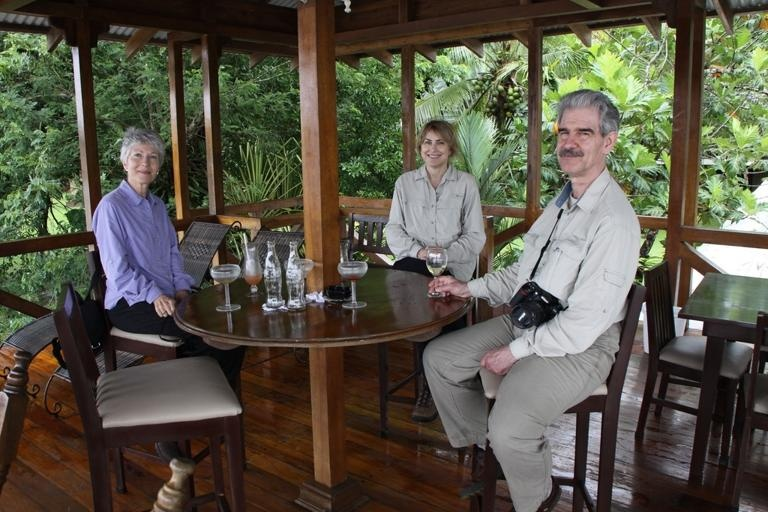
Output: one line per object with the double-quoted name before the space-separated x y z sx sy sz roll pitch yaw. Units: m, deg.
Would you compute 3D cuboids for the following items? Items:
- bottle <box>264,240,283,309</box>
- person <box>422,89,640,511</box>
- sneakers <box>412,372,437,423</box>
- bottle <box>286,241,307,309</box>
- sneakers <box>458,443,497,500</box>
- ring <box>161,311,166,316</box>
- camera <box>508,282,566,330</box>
"bottle" -0.622 0.100 3.077 0.110 0.344 0.354 -2 9 -11
"person" 0.811 0.201 2.999 0.968 2.169 0.796 -4 9 -23
"sneakers" 0.235 0.988 3.916 0.162 0.274 0.447 -4 5 -2
"bottle" -0.488 0.106 3.040 0.098 0.341 0.272 -2 9 -9
"sneakers" 0.528 1.194 2.998 0.094 0.287 0.239 31 -37 -30
"ring" -1.371 0.359 3.425 0.022 0.016 0.021 -1 28 0
"camera" 0.808 0.277 2.898 0.259 0.164 0.290 31 36 11
